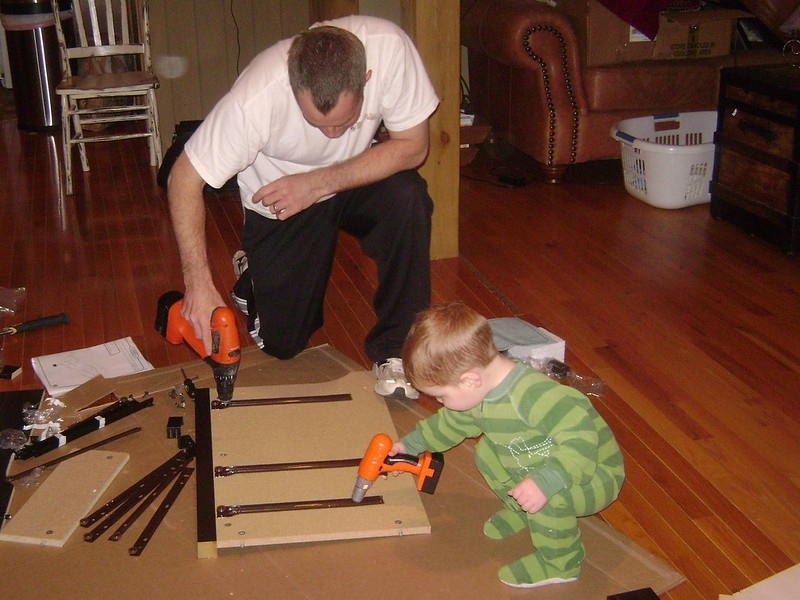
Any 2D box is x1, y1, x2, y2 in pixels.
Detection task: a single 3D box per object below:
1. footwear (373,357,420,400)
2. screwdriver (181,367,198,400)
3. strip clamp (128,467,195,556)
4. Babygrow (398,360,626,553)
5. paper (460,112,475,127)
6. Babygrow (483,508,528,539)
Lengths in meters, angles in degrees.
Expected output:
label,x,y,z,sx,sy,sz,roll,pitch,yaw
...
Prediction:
label,x,y,z,sx,sy,sz,roll,pitch,yaw
footwear,-0.013,0.261,2.038,0.090,0.072,0.166,-6,29,-11
screwdriver,-0.693,0.275,2.072,0.039,0.033,0.135,-19,51,-19
strip clamp,-0.608,0.533,1.616,0.033,0.035,0.235,12,37,11
Babygrow,0.253,0.376,1.617,0.532,0.418,0.434,-2,6,42
paper,0.430,-1.174,4.012,0.086,0.045,0.122,-3,32,1
Babygrow,0.267,0.565,1.587,0.112,0.024,0.061,-28,73,-13
